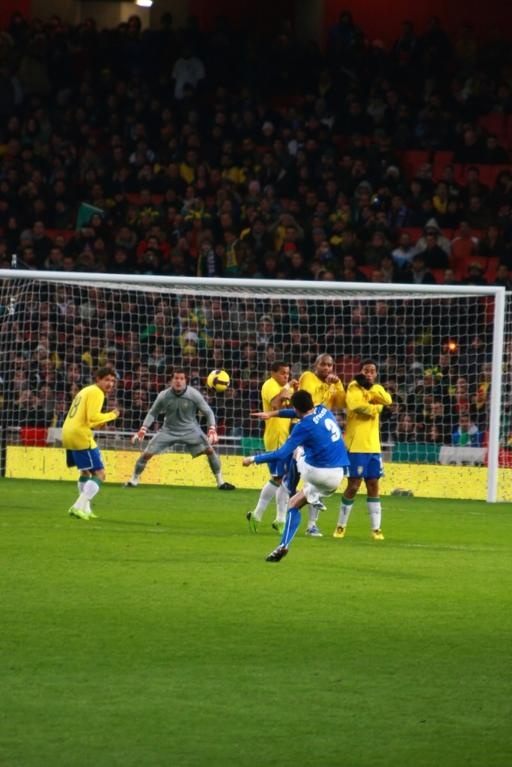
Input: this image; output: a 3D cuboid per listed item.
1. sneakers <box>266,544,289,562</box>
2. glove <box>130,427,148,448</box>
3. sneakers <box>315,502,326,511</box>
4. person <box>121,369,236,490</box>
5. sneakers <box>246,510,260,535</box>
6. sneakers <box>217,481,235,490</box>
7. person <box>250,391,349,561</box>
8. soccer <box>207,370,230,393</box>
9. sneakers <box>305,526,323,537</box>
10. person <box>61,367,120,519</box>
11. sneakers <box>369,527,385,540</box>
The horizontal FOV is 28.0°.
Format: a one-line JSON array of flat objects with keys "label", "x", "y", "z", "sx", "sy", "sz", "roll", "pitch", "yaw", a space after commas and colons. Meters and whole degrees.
[{"label": "sneakers", "x": 0.128, "y": 1.141, "z": 6.918, "sx": 0.130, "sy": 0.144, "sz": 0.273, "roll": 2, "pitch": 1, "yaw": -1}, {"label": "glove", "x": -1.405, "y": 0.644, "z": 12.177, "sx": 0.181, "sy": 0.136, "sz": 0.474, "roll": -14, "pitch": -13, "yaw": -16}, {"label": "sneakers", "x": 0.447, "y": 0.855, "z": 7.095, "sx": 0.073, "sy": 0.046, "sz": 0.113, "roll": 2, "pitch": 0, "yaw": 3}, {"label": "person", "x": -0.823, "y": 0.524, "z": 11.435, "sx": 1.101, "sy": 1.350, "sz": 0.972, "roll": 2, "pitch": 1, "yaw": -5}, {"label": "sneakers", "x": -0.042, "y": 1.151, "z": 8.493, "sx": 0.101, "sy": 0.208, "sz": 0.077, "roll": 1, "pitch": 20, "yaw": 18}, {"label": "sneakers", "x": -0.363, "y": 1.187, "z": 11.965, "sx": 0.180, "sy": 0.073, "sz": 0.090, "roll": 0, "pitch": 1, "yaw": 14}, {"label": "person", "x": 0.278, "y": 0.635, "z": 7.178, "sx": 0.525, "sy": 1.172, "sz": 0.839, "roll": 3, "pitch": 1, "yaw": 25}, {"label": "soccer", "x": -0.448, "y": -0.019, "z": 10.707, "sx": 0.249, "sy": 0.230, "sz": 0.240, "roll": -12, "pitch": -3, "yaw": 9}, {"label": "sneakers", "x": 0.494, "y": 1.252, "z": 8.664, "sx": 0.058, "sy": 0.068, "sz": 0.165, "roll": 0, "pitch": -4, "yaw": -31}, {"label": "person", "x": -1.605, "y": 0.529, "z": 9.923, "sx": 0.456, "sy": 1.368, "sz": 2.364, "roll": 2, "pitch": 1, "yaw": -8}, {"label": "sneakers", "x": 1.003, "y": 1.250, "z": 8.545, "sx": 0.084, "sy": 0.071, "sz": 0.154, "roll": -2, "pitch": -19, "yaw": 6}]
